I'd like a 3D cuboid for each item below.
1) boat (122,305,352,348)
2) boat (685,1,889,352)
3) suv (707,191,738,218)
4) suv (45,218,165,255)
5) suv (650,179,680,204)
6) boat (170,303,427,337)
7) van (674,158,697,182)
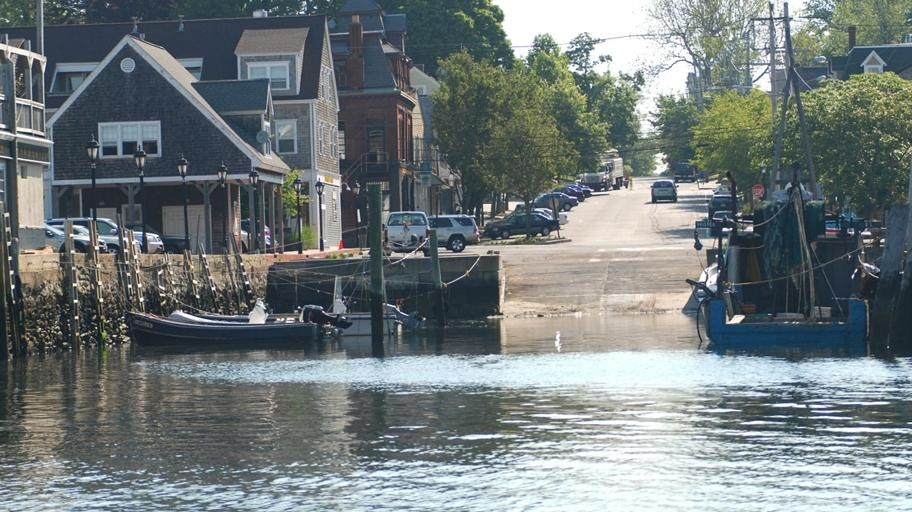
[{"bbox_3d":[-13.854,4.379,117.320,14.401,2.320,3.688,2,-5,-6],"label":"boat"},{"bbox_3d":[20.318,-5.663,122.459,9.543,23.962,19.922,-4,-5,10],"label":"boat"},{"bbox_3d":[20.254,-4.251,150.498,2.505,1.522,3.976,0,6,9],"label":"suv"},{"bbox_3d":[-22.484,-1.602,124.410,6.998,2.250,2.886,-1,1,-2],"label":"suv"},{"bbox_3d":[18.454,-5.969,173.246,1.901,1.262,2.868,1,7,11],"label":"suv"},{"bbox_3d":[-9.963,3.805,118.370,11.100,1.886,1.973,1,-5,-5],"label":"boat"},{"bbox_3d":[23.706,-9.083,203.450,2.638,1.962,3.972,1,10,11],"label":"van"}]
